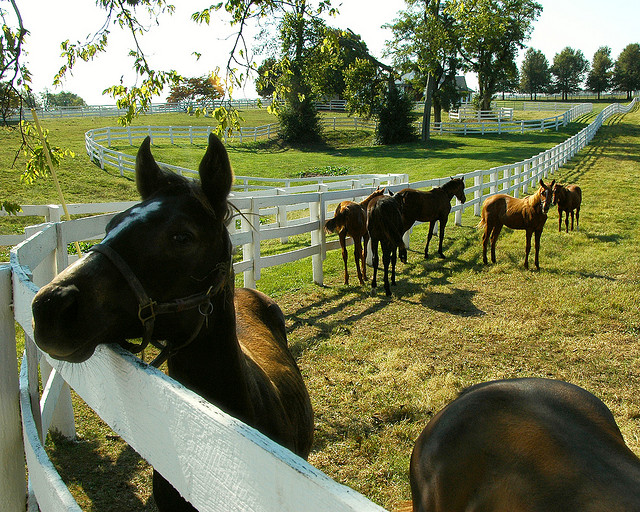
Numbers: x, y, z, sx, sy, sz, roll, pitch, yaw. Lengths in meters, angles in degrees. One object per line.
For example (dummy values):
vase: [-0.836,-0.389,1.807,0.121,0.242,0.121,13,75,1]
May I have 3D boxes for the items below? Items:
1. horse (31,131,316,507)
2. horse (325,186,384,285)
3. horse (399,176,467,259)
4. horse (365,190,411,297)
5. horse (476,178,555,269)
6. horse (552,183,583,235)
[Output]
horse: [-0.570,0.347,3.118,0.819,1.925,1.693,1,12,13]
horse: [0.685,-0.291,9.756,0.459,1.483,2.067,3,9,29]
horse: [2.069,-0.735,11.158,1.958,1.628,0.507,-5,7,-34]
horse: [1.030,-0.252,9.219,0.578,1.389,1.460,1,12,9]
horse: [3.312,-0.561,10.125,0.562,1.487,1.571,-8,13,-31]
horse: [5.153,-1.020,12.420,0.407,1.082,1.482,3,9,41]
